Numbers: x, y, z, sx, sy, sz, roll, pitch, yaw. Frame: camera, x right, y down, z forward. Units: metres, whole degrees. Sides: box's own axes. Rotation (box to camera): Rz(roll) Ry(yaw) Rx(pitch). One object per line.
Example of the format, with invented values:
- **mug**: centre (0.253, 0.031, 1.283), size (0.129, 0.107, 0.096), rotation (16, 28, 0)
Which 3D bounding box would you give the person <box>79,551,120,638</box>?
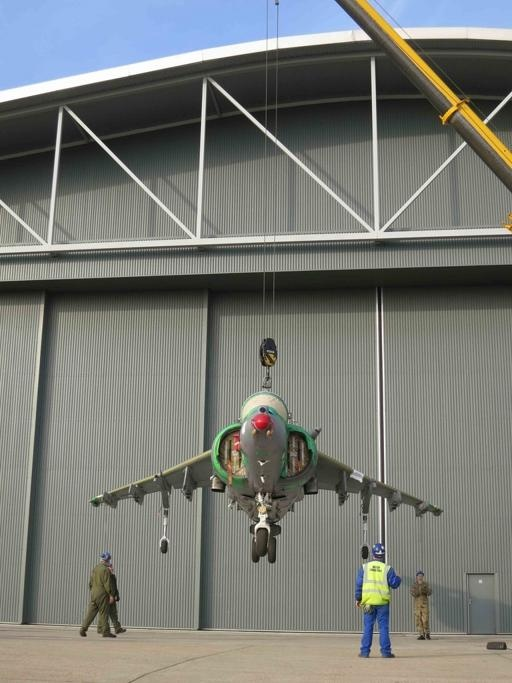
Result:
- **person**: centre (-3.268, 5.228, 21.793), size (0.714, 1.712, 1.506), rotation (3, -13, -9)
